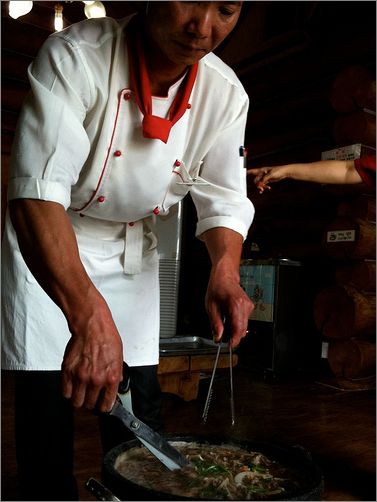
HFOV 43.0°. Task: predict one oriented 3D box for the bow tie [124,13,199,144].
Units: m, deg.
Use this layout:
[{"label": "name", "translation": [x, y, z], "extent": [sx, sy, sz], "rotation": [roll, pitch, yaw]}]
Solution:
[{"label": "bow tie", "translation": [-0.062, -0.395, 1.077], "extent": [0.171, 0.303, 0.102], "rotation": [3, -4, -7]}]
